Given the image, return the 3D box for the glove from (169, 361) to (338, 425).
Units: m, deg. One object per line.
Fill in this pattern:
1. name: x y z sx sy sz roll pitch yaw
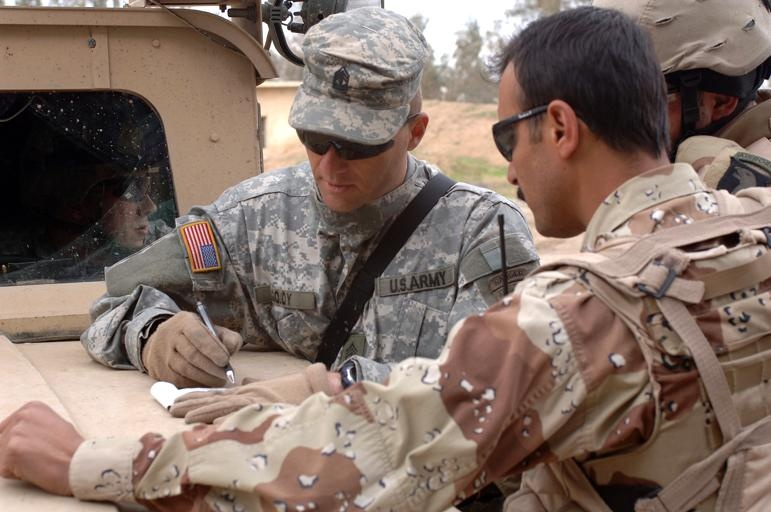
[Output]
1. glove: -0.428 0.456 2.915 0.367 0.131 0.242 -15 3 -21

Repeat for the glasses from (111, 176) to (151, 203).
1. glasses: -1.154 -0.305 4.039 0.106 0.077 0.144 -17 -4 -38

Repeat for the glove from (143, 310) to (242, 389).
1. glove: -0.743 0.302 3.361 0.435 0.239 0.444 -3 12 -21
